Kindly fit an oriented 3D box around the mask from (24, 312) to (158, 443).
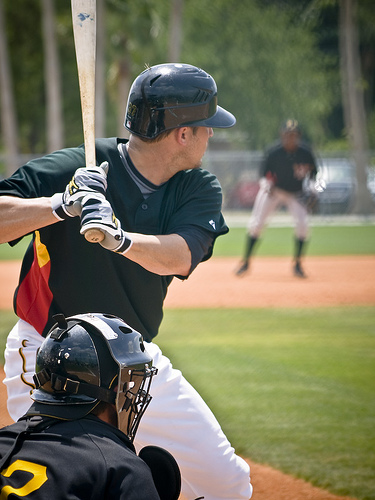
[{"bbox_3d":[-0.302,0.344,2.034,0.343,0.303,0.393,9,4,35],"label":"mask"}]
